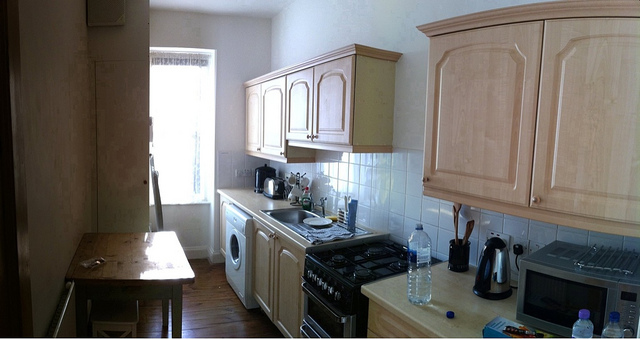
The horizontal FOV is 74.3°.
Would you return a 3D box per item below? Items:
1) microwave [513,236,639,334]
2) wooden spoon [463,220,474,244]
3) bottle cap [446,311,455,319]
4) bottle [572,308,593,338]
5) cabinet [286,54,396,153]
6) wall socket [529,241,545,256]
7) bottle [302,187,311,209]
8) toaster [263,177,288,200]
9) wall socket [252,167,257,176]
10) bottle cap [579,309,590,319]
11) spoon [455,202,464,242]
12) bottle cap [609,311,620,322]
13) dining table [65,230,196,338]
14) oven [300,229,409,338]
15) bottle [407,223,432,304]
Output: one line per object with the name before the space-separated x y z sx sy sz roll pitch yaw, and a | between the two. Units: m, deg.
microwave | 1.680 0.768 2.689 0.597 0.498 0.531 6 9 42
wooden spoon | 1.144 0.474 3.231 0.055 0.201 0.038 18 9 -16
bottle cap | 0.865 0.973 2.789 0.045 0.038 0.041 12 12 -16
bottle | 1.588 0.932 2.524 0.119 0.187 0.064 1 7 14
cabinet | 0.171 -0.658 4.277 0.606 0.804 1.356 -1 6 -30
wall socket | 1.510 0.551 2.914 0.052 0.090 0.104 5 1 -15
bottle | -0.142 0.307 4.607 0.089 0.240 0.096 0 7 0
toaster | -0.546 0.212 5.215 0.241 0.248 0.393 -5 9 -28
wall socket | -0.907 0.025 5.829 0.039 0.105 0.029 0 7 2
bottle cap | 1.568 0.865 2.493 0.055 0.031 0.053 5 -6 -28
spoon | 1.087 0.395 3.301 0.053 0.290 0.141 2 7 17
bottle cap | 1.708 0.861 2.452 0.060 0.052 0.058 3 -3 4
dining table | -1.392 0.682 3.178 0.875 0.706 1.022 0 21 -18
oven | 0.361 1.076 3.496 0.867 0.864 0.701 -4 8 -26
bottle | 0.742 0.711 3.139 0.219 0.579 0.208 2 2 0
